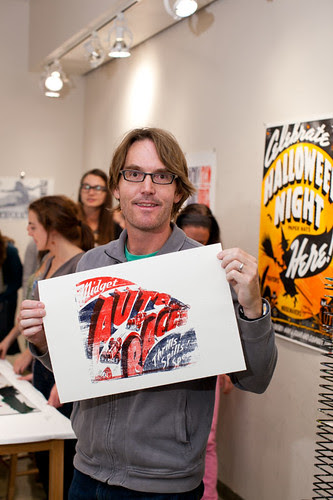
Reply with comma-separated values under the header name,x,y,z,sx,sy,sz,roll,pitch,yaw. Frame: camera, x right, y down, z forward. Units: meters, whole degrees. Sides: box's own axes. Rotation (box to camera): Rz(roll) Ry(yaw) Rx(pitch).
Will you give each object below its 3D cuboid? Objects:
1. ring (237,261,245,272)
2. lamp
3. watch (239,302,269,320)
name,x,y,z,sx,sy,sz,roll,pitch,yaw
ring,0.175,0.041,0.983,0.007,0.018,0.013,13,-4,-34
lamp,-0.314,-1.327,2.729,0.952,0.334,0.167,-33,-1,9
watch,0.214,0.144,1.022,0.044,0.023,0.056,-7,0,4
